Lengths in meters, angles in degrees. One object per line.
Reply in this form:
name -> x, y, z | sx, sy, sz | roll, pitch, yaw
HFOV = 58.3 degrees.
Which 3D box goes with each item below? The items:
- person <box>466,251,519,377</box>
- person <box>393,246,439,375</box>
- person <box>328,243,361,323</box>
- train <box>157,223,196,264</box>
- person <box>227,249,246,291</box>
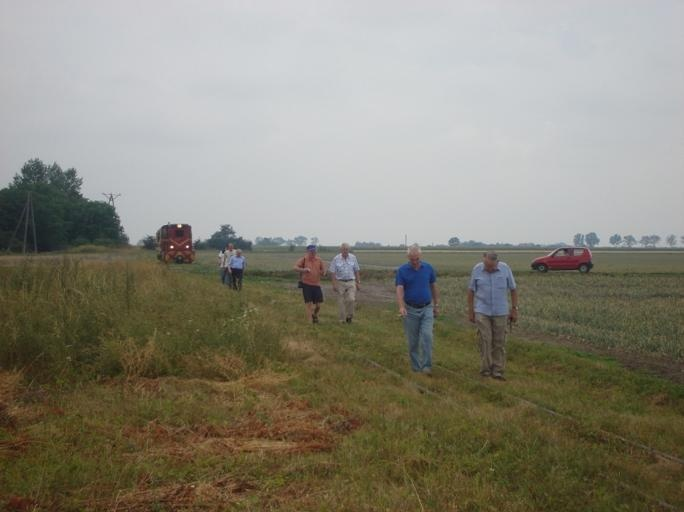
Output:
person -> 3.261, 1.261, 13.407 | 1.018, 2.628, 0.858 | 2, 5, 15
person -> 1.626, 1.125, 13.493 | 0.885, 2.692, 0.772 | 2, 5, 10
person -> 0.068, 0.839, 18.822 | 0.801, 2.463, 1.472 | 1, 5, 0
train -> -13.468, -0.838, 49.906 | 2.526, 4.472, 8.489 | 0, -1, -18
person -> -4.497, 0.616, 26.433 | 0.637, 1.850, 0.477 | -3, 29, -16
